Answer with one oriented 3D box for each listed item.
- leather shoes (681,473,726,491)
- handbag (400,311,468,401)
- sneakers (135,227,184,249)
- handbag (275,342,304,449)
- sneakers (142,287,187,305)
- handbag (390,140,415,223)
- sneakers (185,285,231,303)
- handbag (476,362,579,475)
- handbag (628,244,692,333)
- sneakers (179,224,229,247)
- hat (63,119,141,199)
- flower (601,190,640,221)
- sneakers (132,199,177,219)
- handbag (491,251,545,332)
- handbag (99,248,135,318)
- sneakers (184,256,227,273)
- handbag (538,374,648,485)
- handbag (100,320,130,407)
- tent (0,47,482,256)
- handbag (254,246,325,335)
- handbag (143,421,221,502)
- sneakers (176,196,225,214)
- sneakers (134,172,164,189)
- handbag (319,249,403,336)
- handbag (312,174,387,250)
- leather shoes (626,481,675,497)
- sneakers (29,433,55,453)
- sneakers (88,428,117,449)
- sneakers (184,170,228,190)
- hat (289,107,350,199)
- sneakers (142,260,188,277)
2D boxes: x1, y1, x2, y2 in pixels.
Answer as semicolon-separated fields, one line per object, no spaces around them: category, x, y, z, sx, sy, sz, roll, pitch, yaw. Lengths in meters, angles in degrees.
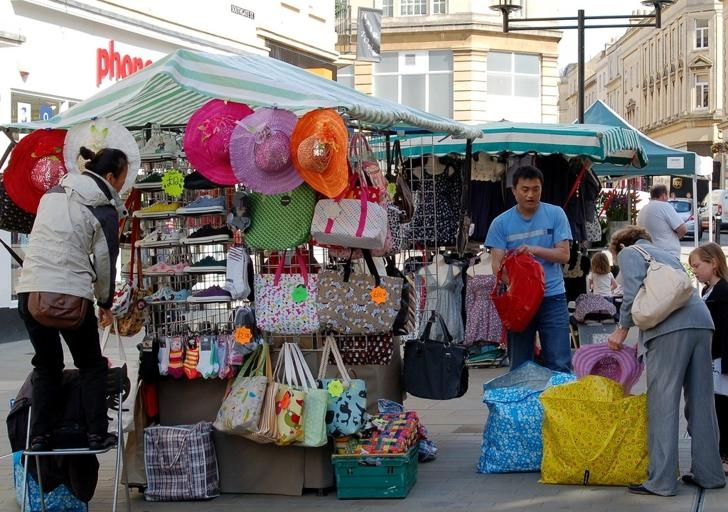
leather shoes;2.913;1.935;8.115;0.349;0.158;0.124;0;7;36
handbag;0.648;0.904;8.761;0.575;0.807;0.268;8;17;17
sneakers;-1.857;-0.149;8.612;0.450;0.182;0.185;1;-1;22
handbag;-0.658;1.185;8.196;0.266;0.571;0.401;-3;2;-7
sneakers;-1.742;0.367;8.454;0.276;0.121;0.191;1;-3;3
handbag;0.386;-0.759;9.575;0.217;0.873;0.353;-5;6;11
sneakers;-1.345;0.345;8.249;0.297;0.133;0.170;1;-2;5
handbag;1.511;1.485;8.553;0.835;0.955;0.370;-1;-8;2
handbag;2.557;0.181;8.148;0.299;0.773;0.538;-19;-19;4
sneakers;-1.395;-0.170;8.480;0.463;0.212;0.181;-1;-2;16
hat;-2.315;-0.870;8.404;0.641;0.735;0.163;8;5;17
flower;4.346;-0.838;15.940;0.567;0.482;0.640;-1;4;-3
sneakers;-1.868;-0.397;8.615;0.452;0.182;0.173;-1;-1;21
handbag;1.483;0.364;9.088;0.411;0.765;0.519;3;-2;35
handbag;-2.166;0.259;8.308;0.157;0.585;0.229;10;-22;-1
sneakers;-1.385;0.097;8.407;0.386;0.164;0.148;2;-4;15
handbag;1.997;1.532;8.325;0.928;1.005;0.493;-1;15;8
handbag;-2.111;0.834;7.904;0.186;0.691;0.265;-8;-15;41
tent;-1.496;-1.043;9.762;3.954;0.941;3.981;-1;3;13
handbag;-0.668;0.335;8.341;0.652;0.947;0.239;0;-10;3
handbag;-1.637;1.800;8.346;0.599;0.676;0.391;-3;-5;6
sneakers;-1.452;-0.435;8.473;0.426;0.196;0.169;1;-2;10
sneakers;-1.946;-0.662;8.723;0.151;0.081;0.214;-3;2;9
handbag;-0.045;0.346;8.315;0.665;0.758;0.212;2;0;-1
handbag;-0.133;-0.367;8.117;0.491;0.481;0.223;7;-18;10
leather shoes;2.410;1.911;7.958;0.325;0.148;0.128;-1;-1;24
sneakers;-2.582;1.482;7.561;0.088;0.109;0.254;1;-11;-6
sneakers;-2.089;1.459;7.647;0.093;0.120;0.257;4;6;41
sneakers;-1.387;-0.671;8.512;0.449;0.220;0.163;2;4;8
hat;-0.356;-0.870;7.888;0.446;0.747;0.272;-2;6;31
sneakers;-1.776;0.124;8.539;0.416;0.158;0.163;0;-2;18
